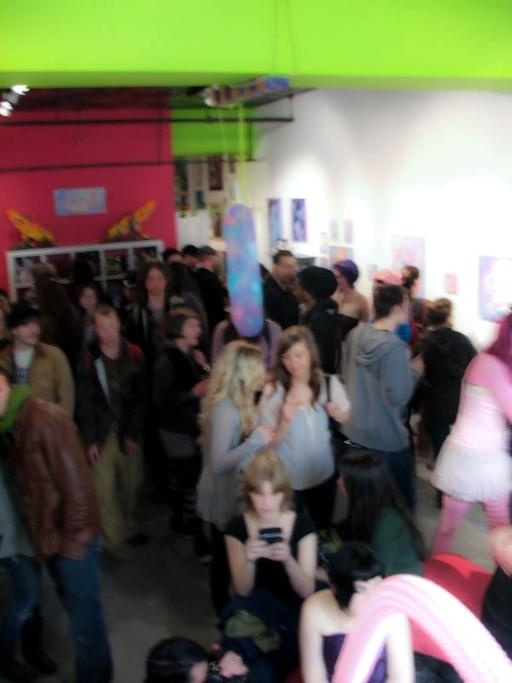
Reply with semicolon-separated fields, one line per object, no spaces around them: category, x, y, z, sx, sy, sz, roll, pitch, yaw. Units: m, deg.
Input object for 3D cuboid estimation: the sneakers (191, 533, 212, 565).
sneakers;-0.325;1.252;3.370;0.105;0.168;0.178;-1;-6;-5
